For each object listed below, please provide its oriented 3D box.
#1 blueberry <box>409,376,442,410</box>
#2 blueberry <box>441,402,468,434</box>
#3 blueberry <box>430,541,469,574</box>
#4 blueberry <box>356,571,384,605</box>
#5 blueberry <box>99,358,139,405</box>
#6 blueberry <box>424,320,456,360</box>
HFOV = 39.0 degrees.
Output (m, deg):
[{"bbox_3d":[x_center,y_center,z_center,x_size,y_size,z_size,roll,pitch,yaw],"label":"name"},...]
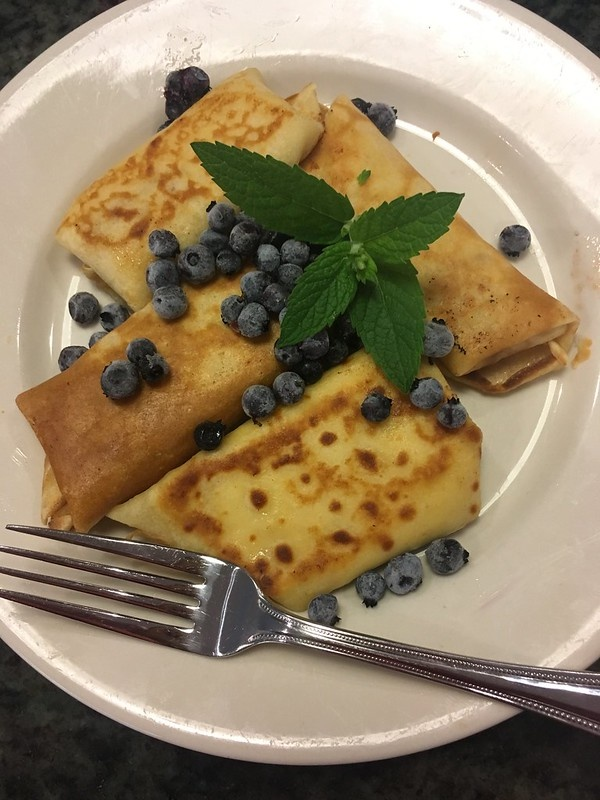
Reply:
[{"bbox_3d":[0.408,-0.017,2.731,0.108,0.092,0.104,-28,84,-2],"label":"blueberry"},{"bbox_3d":[0.497,0.051,2.694,0.093,0.052,0.081,-2,86,5],"label":"blueberry"},{"bbox_3d":[0.480,0.507,2.741,0.125,0.040,0.108,-1,64,5],"label":"blueberry"},{"bbox_3d":[0.229,0.609,2.737,0.110,0.062,0.096,4,85,4],"label":"blueberry"},{"bbox_3d":[-0.568,-0.055,2.705,0.145,0.049,0.119,25,77,-17],"label":"blueberry"},{"bbox_3d":[0.451,-0.193,2.747,0.134,0.040,0.103,-3,93,-12],"label":"blueberry"}]
